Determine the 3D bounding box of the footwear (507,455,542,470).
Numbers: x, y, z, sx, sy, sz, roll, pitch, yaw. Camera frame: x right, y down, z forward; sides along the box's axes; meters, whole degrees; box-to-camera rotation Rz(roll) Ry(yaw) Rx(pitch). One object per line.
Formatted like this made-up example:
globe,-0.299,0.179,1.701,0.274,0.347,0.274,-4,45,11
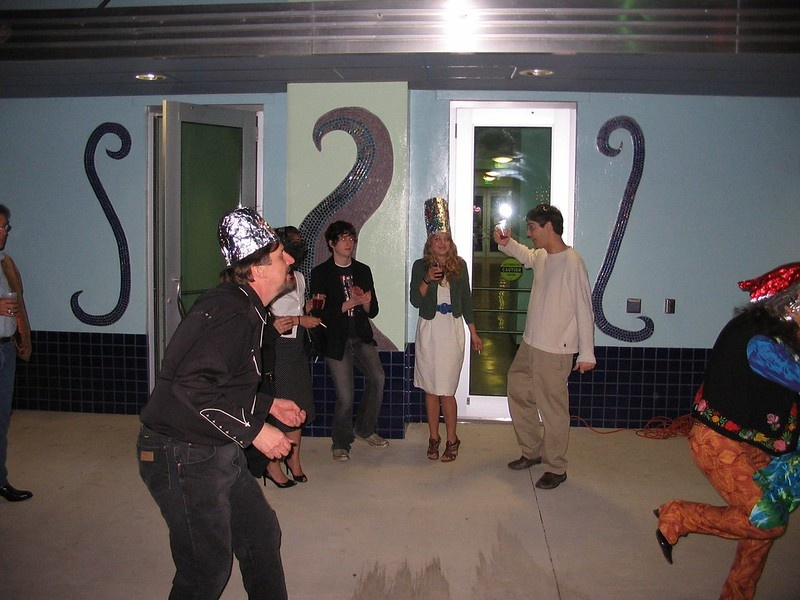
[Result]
footwear,1.100,1.472,5.673,0.305,0.132,0.115,0,8,-10

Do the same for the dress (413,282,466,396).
dress,0.354,0.331,5.808,0.440,1.093,0.258,4,12,12

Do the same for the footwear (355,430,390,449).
footwear,-0.284,1.374,6.222,0.282,0.126,0.144,7,2,4

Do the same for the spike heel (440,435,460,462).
spike heel,0.447,1.392,5.803,0.095,0.117,0.265,-1,5,13

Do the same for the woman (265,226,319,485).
woman,-0.922,0.491,5.154,0.515,2.137,0.599,0,7,4

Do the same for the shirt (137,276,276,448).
shirt,-1.006,0.320,3.402,0.650,0.842,0.942,11,5,-13

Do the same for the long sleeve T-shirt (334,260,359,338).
long sleeve T-shirt,-0.481,0.001,5.707,0.144,0.541,0.373,-2,-5,8

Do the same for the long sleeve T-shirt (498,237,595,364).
long sleeve T-shirt,1.279,-0.016,5.660,0.388,1.026,1.211,-7,12,-29

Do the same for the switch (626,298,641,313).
switch,2.466,0.058,6.677,0.120,0.129,0.065,4,15,4

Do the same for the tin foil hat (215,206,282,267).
tin foil hat,-0.837,-0.325,3.466,0.292,0.258,0.316,-31,12,-8

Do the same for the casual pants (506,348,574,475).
casual pants,1.231,1.086,5.610,0.473,1.000,0.300,-2,32,21

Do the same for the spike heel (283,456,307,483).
spike heel,-0.942,1.442,5.408,0.107,0.160,0.314,1,9,-41

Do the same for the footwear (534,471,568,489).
footwear,1.277,1.511,5.315,0.225,0.096,0.119,-9,15,-22
